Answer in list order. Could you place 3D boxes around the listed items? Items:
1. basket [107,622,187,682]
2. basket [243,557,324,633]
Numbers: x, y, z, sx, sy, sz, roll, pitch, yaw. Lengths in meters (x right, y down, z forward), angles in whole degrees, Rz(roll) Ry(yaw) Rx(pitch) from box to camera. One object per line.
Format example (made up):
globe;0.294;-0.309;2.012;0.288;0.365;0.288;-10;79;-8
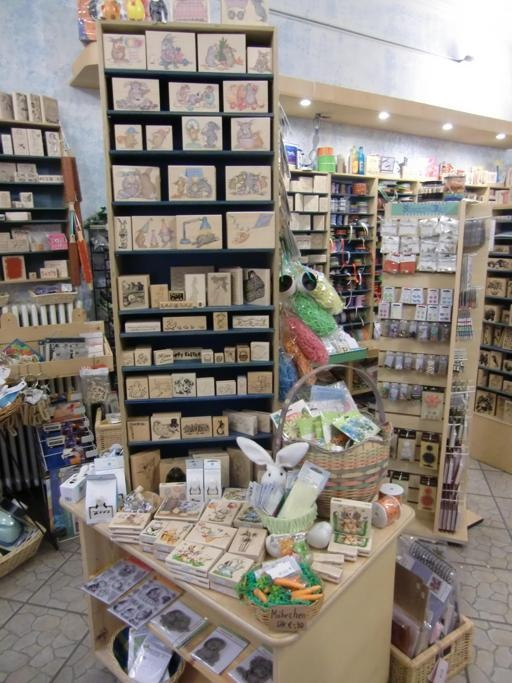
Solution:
basket;-0.484;1.310;2.144;0.209;0.067;0.205;19;-3;41
basket;0.075;0.731;1.468;0.230;0.101;0.250;-7;10;-20
